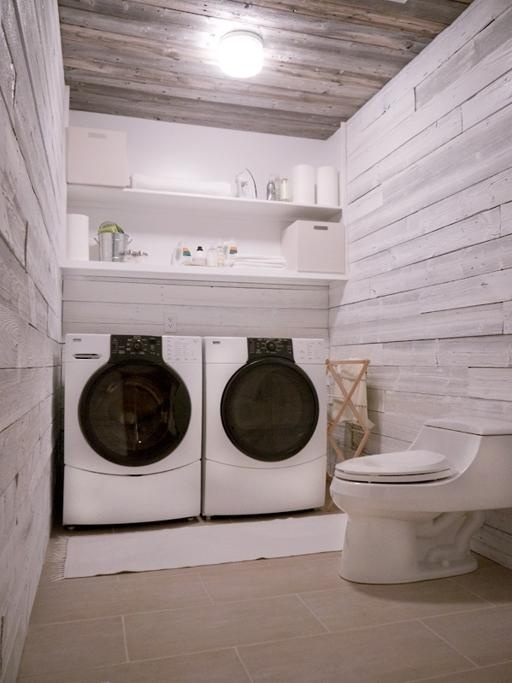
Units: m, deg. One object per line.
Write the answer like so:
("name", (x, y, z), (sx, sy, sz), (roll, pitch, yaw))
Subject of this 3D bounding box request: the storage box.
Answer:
("storage box", (0.366, -0.582, 3.387), (0.355, 0.348, 0.342), (0, -1, -13))

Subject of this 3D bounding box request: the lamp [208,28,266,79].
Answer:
("lamp", (-0.075, -1.358, 2.424), (0.210, 0.120, 0.196), (0, -4, 9))

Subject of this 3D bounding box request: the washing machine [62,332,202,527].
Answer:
("washing machine", (-0.609, 0.441, 2.617), (0.681, 0.885, 0.622), (-1, -10, -8))

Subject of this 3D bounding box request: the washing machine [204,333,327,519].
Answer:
("washing machine", (0.017, 0.471, 2.816), (0.721, 0.925, 0.680), (3, -12, -21))

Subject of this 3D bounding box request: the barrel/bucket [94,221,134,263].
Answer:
("barrel/bucket", (-0.832, -0.576, 2.946), (0.183, 0.263, 0.121), (-2, -4, 31))

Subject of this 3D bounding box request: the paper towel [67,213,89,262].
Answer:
("paper towel", (-1.023, -0.599, 2.938), (0.145, 0.255, 0.145), (-2, 2, -36))

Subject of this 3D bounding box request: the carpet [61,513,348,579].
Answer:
("carpet", (-0.191, 0.830, 2.167), (1.157, 0.020, 0.540), (1, -4, -17))

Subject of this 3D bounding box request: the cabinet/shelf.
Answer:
("cabinet/shelf", (-0.280, -0.622, 3.179), (1.694, 0.505, 0.378), (1, -4, -17))
